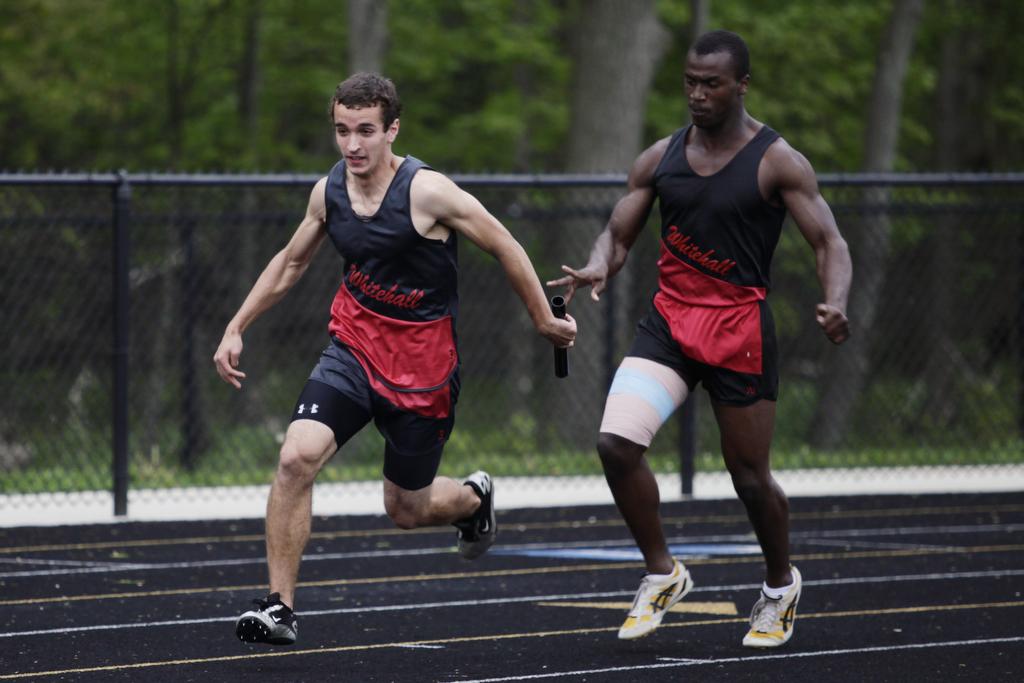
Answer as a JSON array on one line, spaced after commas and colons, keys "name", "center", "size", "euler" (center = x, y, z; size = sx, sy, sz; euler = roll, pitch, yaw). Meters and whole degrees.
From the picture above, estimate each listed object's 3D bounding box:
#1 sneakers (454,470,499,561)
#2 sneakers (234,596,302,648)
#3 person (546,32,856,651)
[{"name": "sneakers", "center": [-0.219, 1.075, 8.885], "size": [0.230, 0.273, 0.669], "euler": [-11, 32, 7]}, {"name": "sneakers", "center": [-1.254, 1.436, 7.503], "size": [0.276, 0.282, 0.216], "euler": [0, 8, 4]}, {"name": "person", "center": [1.060, 0.019, 7.827], "size": [1.333, 3.307, 0.664], "euler": [0, 8, 2]}]
